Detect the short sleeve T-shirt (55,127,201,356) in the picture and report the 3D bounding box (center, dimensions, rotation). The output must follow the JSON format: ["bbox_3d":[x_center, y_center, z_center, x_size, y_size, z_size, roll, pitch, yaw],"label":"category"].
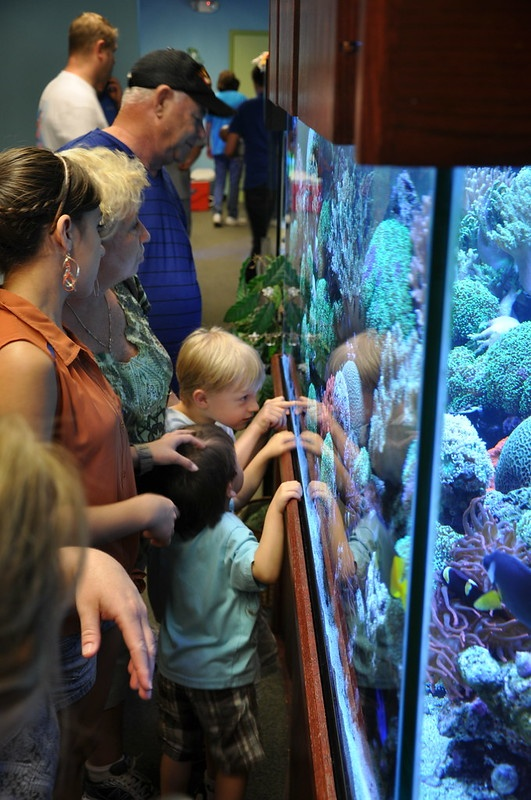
[{"bbox_3d":[-0.382,-0.636,2.377,0.504,1.079,0.698,-1,17,-3],"label":"short sleeve T-shirt"}]

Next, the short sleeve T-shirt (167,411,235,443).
[{"bbox_3d":[-0.211,0.063,1.686,0.096,0.066,0.137,7,-1,16],"label":"short sleeve T-shirt"}]

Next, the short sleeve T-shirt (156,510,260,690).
[{"bbox_3d":[-0.144,0.463,1.460,0.323,0.396,0.202,-8,-18,30],"label":"short sleeve T-shirt"}]

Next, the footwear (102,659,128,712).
[{"bbox_3d":[-0.393,0.772,1.638,0.089,0.140,0.072,-22,-27,35],"label":"footwear"}]

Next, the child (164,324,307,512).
[{"bbox_3d":[-0.139,0.135,1.822,0.407,0.674,0.325,4,30,-3],"label":"child"}]

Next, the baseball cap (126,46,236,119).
[{"bbox_3d":[-0.252,-0.973,1.885,0.262,0.152,0.181,-1,27,-21],"label":"baseball cap"}]

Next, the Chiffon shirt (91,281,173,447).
[{"bbox_3d":[-0.308,-0.037,1.481,0.126,0.247,0.248,4,22,16],"label":"Chiffon shirt"}]

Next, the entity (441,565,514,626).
[{"bbox_3d":[0.265,0.242,0.776,0.038,0.041,0.090,-38,63,-9],"label":"entity"}]

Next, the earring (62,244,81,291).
[{"bbox_3d":[-0.328,-0.230,1.026,0.041,0.080,0.027,-22,48,-39],"label":"earring"}]
